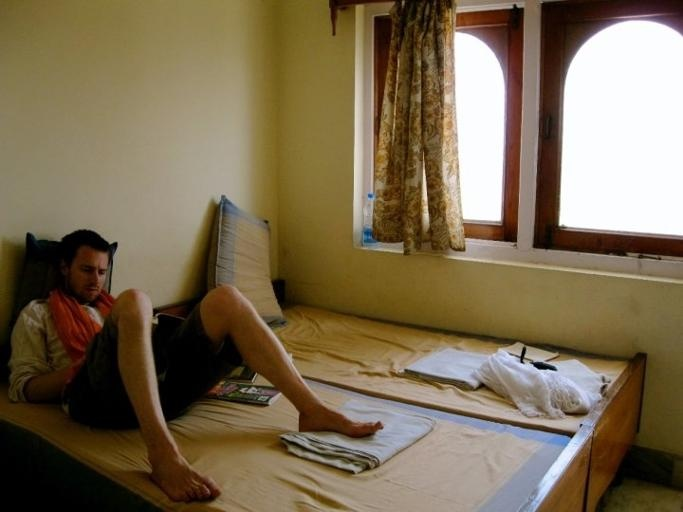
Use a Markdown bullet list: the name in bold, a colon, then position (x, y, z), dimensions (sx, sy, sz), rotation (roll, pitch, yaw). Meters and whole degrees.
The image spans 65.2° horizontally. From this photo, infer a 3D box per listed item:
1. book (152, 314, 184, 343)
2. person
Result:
- **book**: position (-0.672, 0.280, 2.082), dimensions (0.111, 0.133, 0.085), rotation (15, 7, -14)
- **person**: position (-0.585, 0.256, 2.030), dimensions (1.176, 0.770, 0.796), rotation (1, 3, 26)
